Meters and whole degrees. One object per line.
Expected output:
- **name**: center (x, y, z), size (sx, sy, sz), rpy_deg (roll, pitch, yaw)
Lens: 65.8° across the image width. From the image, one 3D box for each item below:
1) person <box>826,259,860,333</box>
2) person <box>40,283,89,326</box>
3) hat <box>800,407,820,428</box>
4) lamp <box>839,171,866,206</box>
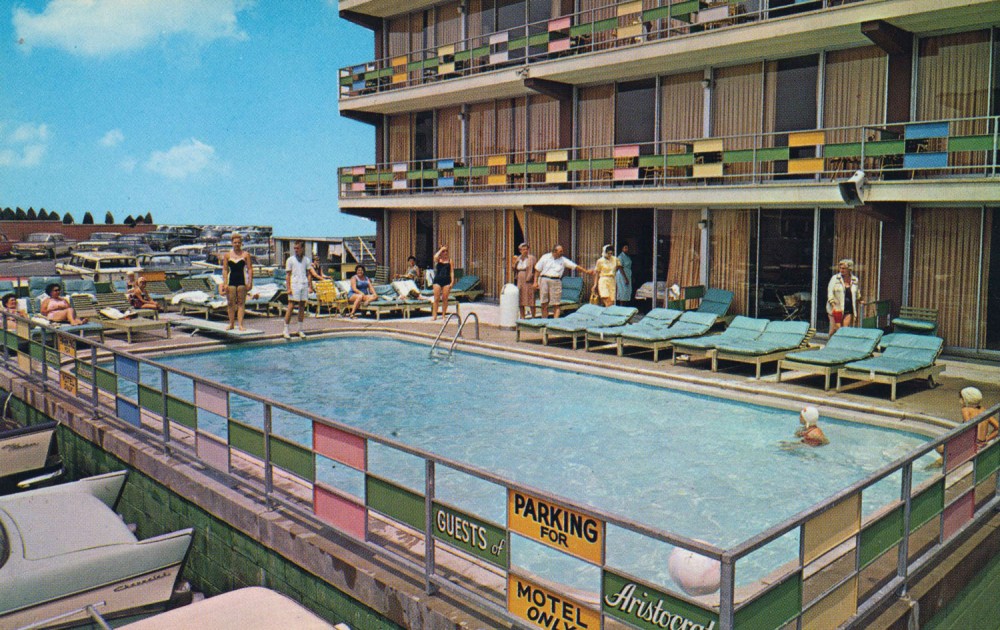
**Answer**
- **person**: center (7.226, -0.401, 16.276), size (0.472, 1.517, 0.870), rpy_deg (4, 10, 40)
- **person**: center (-10.172, -0.250, 17.721), size (0.596, 0.973, 0.885), rpy_deg (2, 8, 29)
- **hat**: center (5.169, 1.670, 12.821), size (0.253, 0.346, 0.324), rpy_deg (0, 7, 13)
- **lamp**: center (8.111, -2.909, 17.670), size (0.457, 0.817, 0.645), rpy_deg (3, 9, 36)
